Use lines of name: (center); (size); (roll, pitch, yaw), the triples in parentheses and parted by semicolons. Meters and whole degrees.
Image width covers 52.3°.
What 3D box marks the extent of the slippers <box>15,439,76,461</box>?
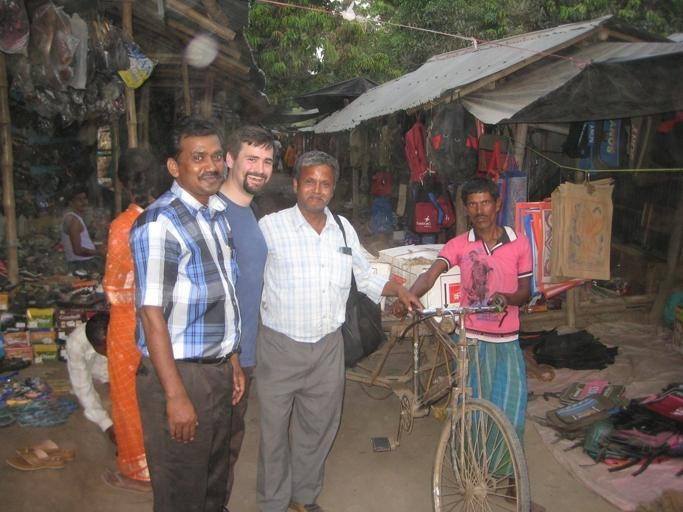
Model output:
slippers: (-2.836, 1.893, 6.790); (0.328, 0.077, 0.243); (14, -4, -19)

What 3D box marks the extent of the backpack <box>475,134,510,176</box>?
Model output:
backpack: (1.812, -1.179, 8.367); (0.383, 0.556, 0.322); (6, -3, 12)

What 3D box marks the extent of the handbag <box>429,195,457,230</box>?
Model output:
handbag: (1.563, -0.685, 10.552); (0.440, 0.446, 0.181); (-4, 4, -3)

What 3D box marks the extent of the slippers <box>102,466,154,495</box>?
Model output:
slippers: (-2.005, 2.095, 6.578); (0.478, 0.192, 0.199); (16, 5, 5)

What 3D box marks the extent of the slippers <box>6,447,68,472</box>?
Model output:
slippers: (-2.912, 1.951, 6.670); (0.394, 0.102, 0.230); (4, 21, -10)

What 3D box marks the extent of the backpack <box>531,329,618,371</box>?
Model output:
backpack: (2.908, 1.184, 8.666); (0.589, 0.183, 0.566); (-10, 16, 13)

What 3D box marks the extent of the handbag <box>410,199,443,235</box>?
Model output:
handbag: (1.307, -0.591, 10.652); (0.407, 0.564, 0.470); (1, 8, 11)

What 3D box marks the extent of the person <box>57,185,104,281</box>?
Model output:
person: (-3.582, -0.373, 9.640); (0.508, 1.153, 1.103); (-2, 6, -21)
